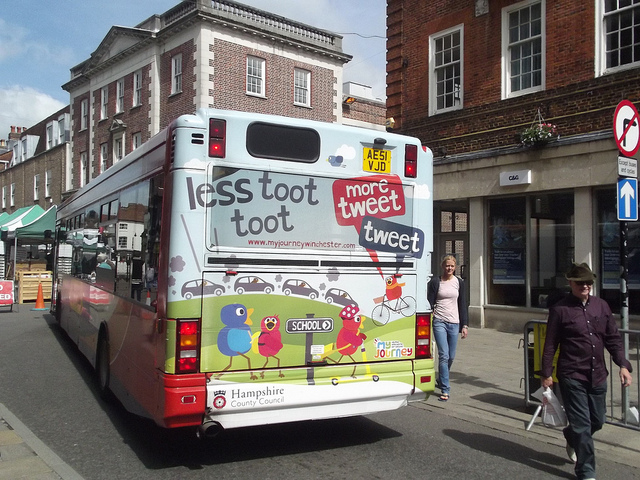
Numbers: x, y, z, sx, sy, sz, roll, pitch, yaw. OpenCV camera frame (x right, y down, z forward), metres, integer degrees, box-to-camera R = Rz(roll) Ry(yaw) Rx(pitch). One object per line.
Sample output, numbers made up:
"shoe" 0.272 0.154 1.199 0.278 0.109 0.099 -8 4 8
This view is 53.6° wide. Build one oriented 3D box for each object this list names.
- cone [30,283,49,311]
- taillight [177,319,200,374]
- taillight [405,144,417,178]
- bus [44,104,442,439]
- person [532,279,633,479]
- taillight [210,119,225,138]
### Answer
"cone" -9.554 1.911 21.630 0.767 0.979 0.770 1 2 -24
"taillight" -1.439 1.140 6.949 0.288 0.693 0.078 0 20 -15
"taillight" 1.190 -1.006 8.110 0.038 0.435 0.219 -13 18 -42
"bus" -1.541 0.495 8.410 5.420 4.085 2.729 2 3 35
"person" 3.011 1.520 7.222 0.848 2.170 0.643 -2 3 -42
"taillight" -1.158 -1.251 7.133 0.189 0.231 0.023 1 1 -21
